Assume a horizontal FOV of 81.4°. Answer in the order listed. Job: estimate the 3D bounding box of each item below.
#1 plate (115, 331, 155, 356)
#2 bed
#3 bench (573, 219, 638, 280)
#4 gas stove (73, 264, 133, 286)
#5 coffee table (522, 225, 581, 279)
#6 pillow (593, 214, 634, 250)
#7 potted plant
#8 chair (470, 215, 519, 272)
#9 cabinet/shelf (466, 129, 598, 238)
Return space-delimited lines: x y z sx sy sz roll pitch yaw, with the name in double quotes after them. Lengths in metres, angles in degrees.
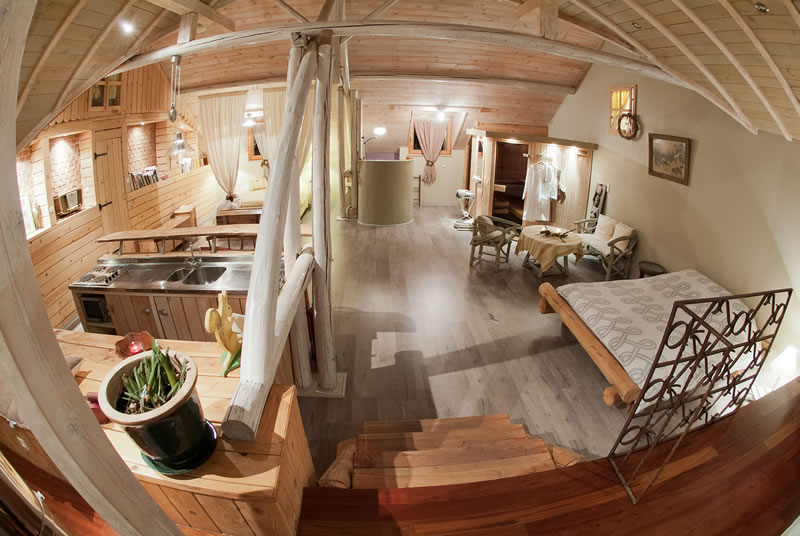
-1.700 0.482 2.998 0.198 0.080 0.205 9 28 10 "plate"
2.744 0.514 5.248 2.139 0.460 1.927 -28 48 -26 "bed"
3.412 -0.428 7.801 0.542 0.789 1.299 -4 21 -1 "bench"
-3.197 0.074 5.016 0.314 0.076 0.309 -1 31 -6 "gas stove"
2.334 -0.289 7.444 0.885 0.515 0.857 3 21 6 "coffee table"
3.470 -0.595 7.547 0.110 0.368 0.612 21 8 -11 "pillow"
-1.244 0.752 2.451 0.490 0.456 0.445 13 37 30 "potted plant"
1.621 -0.476 7.997 0.722 0.807 0.820 10 16 23 "chair"
2.774 -1.876 9.950 2.052 1.863 1.182 17 21 37 "cabinet/shelf"
